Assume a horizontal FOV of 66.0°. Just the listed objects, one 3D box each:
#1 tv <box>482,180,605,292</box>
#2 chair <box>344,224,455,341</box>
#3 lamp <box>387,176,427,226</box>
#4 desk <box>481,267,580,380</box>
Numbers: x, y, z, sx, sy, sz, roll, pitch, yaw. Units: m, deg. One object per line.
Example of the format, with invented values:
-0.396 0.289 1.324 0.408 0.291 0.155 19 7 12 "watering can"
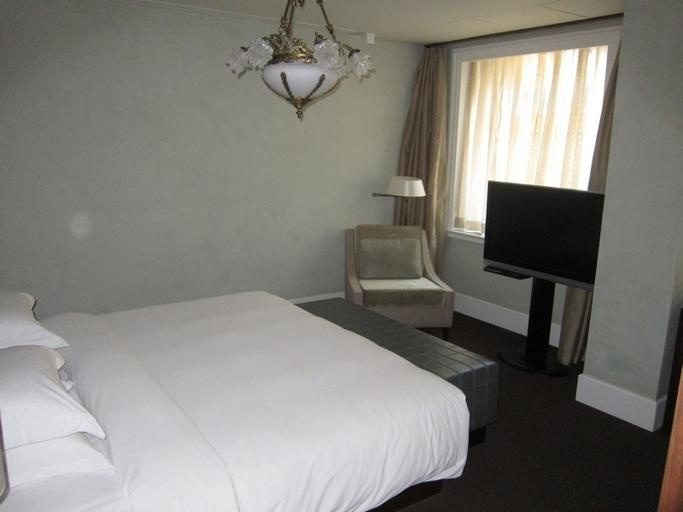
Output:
1.808 -0.197 4.607 0.241 0.654 0.850 -17 26 -32 "tv"
0.503 0.247 5.666 0.981 1.289 1.132 1 3 -6 "chair"
0.731 -0.677 5.845 0.332 0.361 0.353 5 21 14 "lamp"
1.803 0.568 4.981 0.837 1.014 0.580 16 19 38 "desk"
